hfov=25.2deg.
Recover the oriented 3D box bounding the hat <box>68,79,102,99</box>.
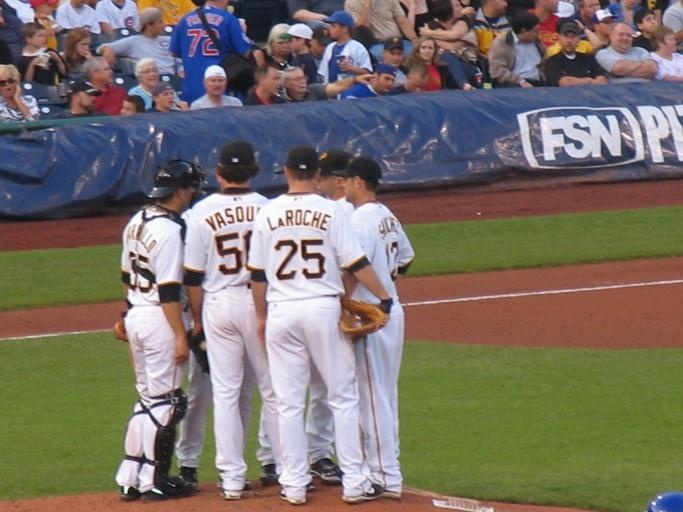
[{"bbox_3d":[-3.739,-2.456,22.292,0.374,0.167,0.237,-3,10,-8],"label":"hat"}]

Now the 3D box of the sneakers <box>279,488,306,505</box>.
[{"bbox_3d":[-0.512,2.448,15.664,0.127,0.106,0.260,-2,9,-29],"label":"sneakers"}]

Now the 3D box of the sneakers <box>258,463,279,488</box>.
[{"bbox_3d":[-0.779,2.305,16.065,0.126,0.130,0.321,0,1,6],"label":"sneakers"}]

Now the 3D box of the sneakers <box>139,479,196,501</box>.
[{"bbox_3d":[-1.799,2.401,15.770,0.521,0.188,0.205,-10,16,-17],"label":"sneakers"}]

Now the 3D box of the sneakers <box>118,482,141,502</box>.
[{"bbox_3d":[-2.189,2.428,15.745,0.255,0.151,0.108,1,9,-9],"label":"sneakers"}]

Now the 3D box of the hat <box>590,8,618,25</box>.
[{"bbox_3d":[4.335,-3.995,25.401,0.241,0.158,0.332,-16,15,-40],"label":"hat"}]

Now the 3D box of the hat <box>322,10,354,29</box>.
[{"bbox_3d":[-0.038,-3.705,23.752,0.462,0.218,0.311,7,12,-12],"label":"hat"}]

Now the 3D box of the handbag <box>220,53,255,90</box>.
[{"bbox_3d":[-1.547,-2.775,23.038,0.478,0.562,1.085,-2,6,-3],"label":"handbag"}]

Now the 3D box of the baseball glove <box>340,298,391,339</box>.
[{"bbox_3d":[0.241,0.617,15.597,0.379,0.201,0.471,14,-9,-28],"label":"baseball glove"}]

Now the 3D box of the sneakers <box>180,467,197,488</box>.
[{"bbox_3d":[-1.596,2.285,16.003,0.238,0.203,0.135,6,-3,8],"label":"sneakers"}]

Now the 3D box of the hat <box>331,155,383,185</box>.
[{"bbox_3d":[0.186,-0.918,16.025,0.417,0.213,0.270,15,11,8],"label":"hat"}]

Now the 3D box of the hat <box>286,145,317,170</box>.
[{"bbox_3d":[-0.395,-1.019,15.864,0.371,0.257,0.218,-3,7,-15],"label":"hat"}]

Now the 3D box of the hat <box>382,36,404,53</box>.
[{"bbox_3d":[0.818,-3.303,23.796,0.277,0.189,0.392,3,-11,-5],"label":"hat"}]

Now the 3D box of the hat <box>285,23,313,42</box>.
[{"bbox_3d":[-0.638,-3.498,23.677,0.385,0.175,0.251,16,3,1],"label":"hat"}]

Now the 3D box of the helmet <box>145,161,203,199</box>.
[{"bbox_3d":[-1.727,-0.822,15.827,0.534,0.280,0.366,-21,22,-14],"label":"helmet"}]

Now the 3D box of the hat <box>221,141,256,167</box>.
[{"bbox_3d":[-1.076,-1.074,15.838,0.307,0.152,0.282,-2,9,-6],"label":"hat"}]

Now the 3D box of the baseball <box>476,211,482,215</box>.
[{"bbox_3d":[2.131,-0.679,23.722,0.082,0.059,0.070,-1,6,6],"label":"baseball"}]
